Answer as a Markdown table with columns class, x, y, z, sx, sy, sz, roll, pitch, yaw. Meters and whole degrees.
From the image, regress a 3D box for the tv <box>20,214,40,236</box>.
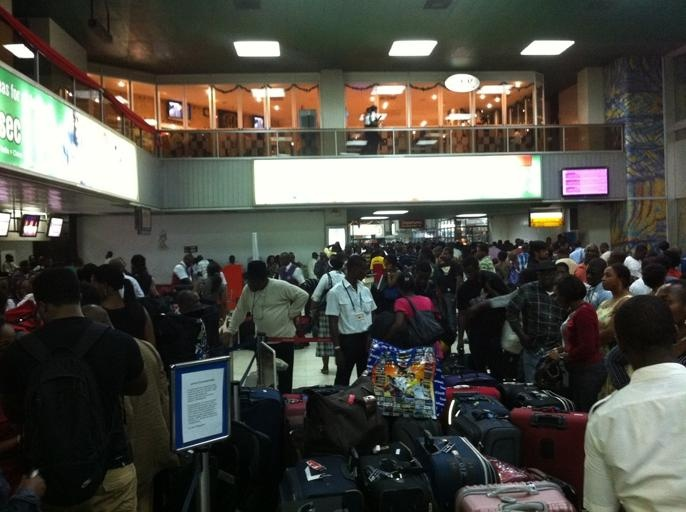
| class | x | y | z | sx | sy | sz | roll | pitch | yaw |
| --- | --- | --- | --- | --- | --- | --- | --- | --- | --- |
| tv | -6.323 | -0.630 | 12.098 | 0.063 | 0.463 | 0.480 | 6 | 2 | 21 |

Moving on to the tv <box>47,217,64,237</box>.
| class | x | y | z | sx | sy | sz | roll | pitch | yaw |
| --- | --- | --- | --- | --- | --- | --- | --- | --- | --- |
| tv | -6.247 | -0.630 | 13.003 | 0.239 | 0.426 | 0.496 | -1 | 3 | -15 |

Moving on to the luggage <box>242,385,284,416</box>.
| class | x | y | z | sx | sy | sz | roll | pitch | yaw |
| --- | --- | --- | --- | --- | --- | --- | --- | --- | --- |
| luggage | -0.632 | 1.082 | 4.665 | 0.288 | 0.288 | 0.198 | 0 | 8 | -12 |

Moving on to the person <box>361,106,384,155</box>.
| class | x | y | z | sx | sy | sz | roll | pitch | yaw |
| --- | --- | --- | --- | --- | --- | --- | --- | --- | --- |
| person | 0.682 | -3.013 | 14.350 | 0.409 | 1.272 | 1.084 | 0 | 3 | 3 |

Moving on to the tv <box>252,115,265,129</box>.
| class | x | y | z | sx | sy | sz | roll | pitch | yaw |
| --- | --- | --- | --- | --- | --- | --- | --- | --- | --- |
| tv | -2.305 | -3.647 | 16.242 | 0.308 | 0.340 | 0.192 | 0 | 3 | 9 |

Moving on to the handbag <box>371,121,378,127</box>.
| class | x | y | z | sx | sy | sz | roll | pitch | yaw |
| --- | --- | --- | --- | --- | --- | --- | --- | --- | --- |
| handbag | 0.745 | -3.215 | 14.593 | 0.158 | 0.066 | 0.217 | 1 | 0 | 1 |

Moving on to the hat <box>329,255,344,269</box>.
| class | x | y | z | sx | sy | sz | roll | pitch | yaw |
| --- | --- | --- | --- | --- | --- | --- | --- | --- | --- |
| hat | -0.087 | 0.088 | 8.147 | 0.152 | 0.192 | 0.192 | 2 | 5 | 2 |

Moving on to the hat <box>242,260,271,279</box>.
| class | x | y | z | sx | sy | sz | roll | pitch | yaw |
| --- | --- | --- | --- | --- | --- | --- | --- | --- | --- |
| hat | -0.875 | 0.138 | 6.189 | 0.245 | 0.110 | 0.277 | 0 | 3 | -3 |

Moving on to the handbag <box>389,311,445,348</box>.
| class | x | y | z | sx | sy | sz | roll | pitch | yaw |
| --- | --- | --- | --- | --- | --- | --- | --- | --- | --- |
| handbag | 0.668 | 0.691 | 5.649 | 0.280 | 0.214 | 0.383 | -8 | 32 | -24 |

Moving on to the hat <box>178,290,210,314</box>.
| class | x | y | z | sx | sy | sz | roll | pitch | yaw |
| --- | --- | --- | --- | --- | --- | --- | --- | --- | --- |
| hat | -1.522 | 0.456 | 5.946 | 0.232 | 0.162 | 0.302 | -6 | -7 | -7 |

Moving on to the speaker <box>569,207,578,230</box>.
| class | x | y | z | sx | sy | sz | roll | pitch | yaw |
| --- | --- | --- | --- | --- | --- | --- | --- | --- | --- |
| speaker | 6.106 | -1.009 | 16.021 | 0.275 | 0.589 | 0.083 | 3 | 4 | 43 |

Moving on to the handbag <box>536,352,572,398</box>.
| class | x | y | z | sx | sy | sz | roll | pitch | yaw |
| --- | --- | --- | --- | --- | --- | --- | --- | --- | --- |
| handbag | 1.742 | 0.983 | 5.012 | 0.239 | 0.332 | 0.331 | 3 | 3 | -21 |
